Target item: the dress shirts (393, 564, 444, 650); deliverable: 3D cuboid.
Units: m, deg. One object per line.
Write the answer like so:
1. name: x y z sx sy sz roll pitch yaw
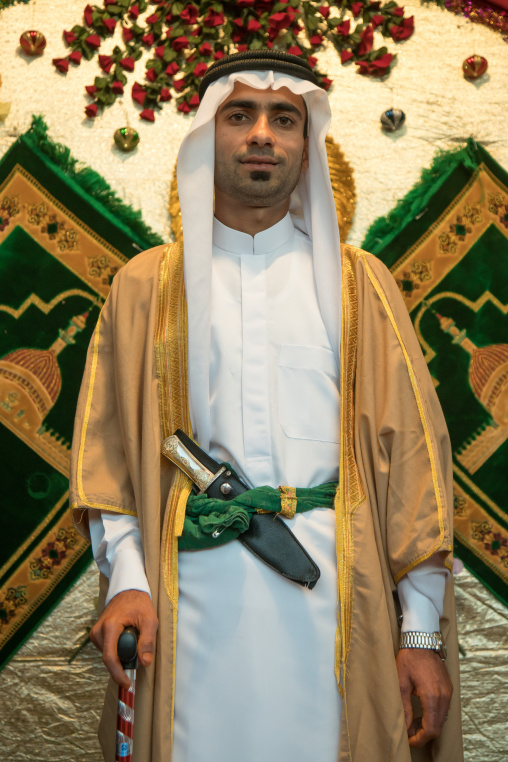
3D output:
1. dress shirts: 0.335 0.437 1.469 0.102 0.160 0.133 6 15 6

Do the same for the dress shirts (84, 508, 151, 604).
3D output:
1. dress shirts: -0.269 0.355 1.530 0.122 0.172 0.360 5 5 -6
